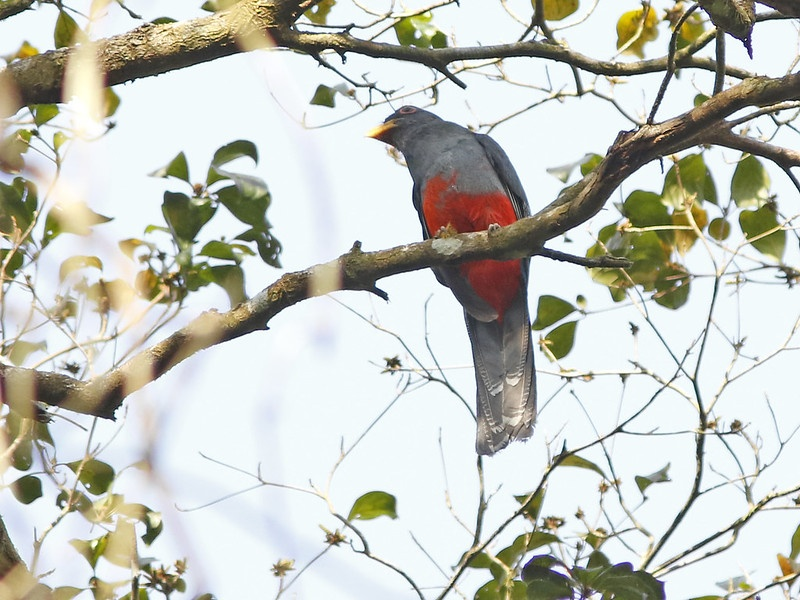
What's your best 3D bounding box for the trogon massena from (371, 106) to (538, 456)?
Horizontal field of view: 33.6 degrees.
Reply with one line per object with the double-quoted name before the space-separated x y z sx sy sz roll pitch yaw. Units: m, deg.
"trogon massena" 0.427 -0.218 7.208 0.664 0.853 2.121 -16 -92 -16
